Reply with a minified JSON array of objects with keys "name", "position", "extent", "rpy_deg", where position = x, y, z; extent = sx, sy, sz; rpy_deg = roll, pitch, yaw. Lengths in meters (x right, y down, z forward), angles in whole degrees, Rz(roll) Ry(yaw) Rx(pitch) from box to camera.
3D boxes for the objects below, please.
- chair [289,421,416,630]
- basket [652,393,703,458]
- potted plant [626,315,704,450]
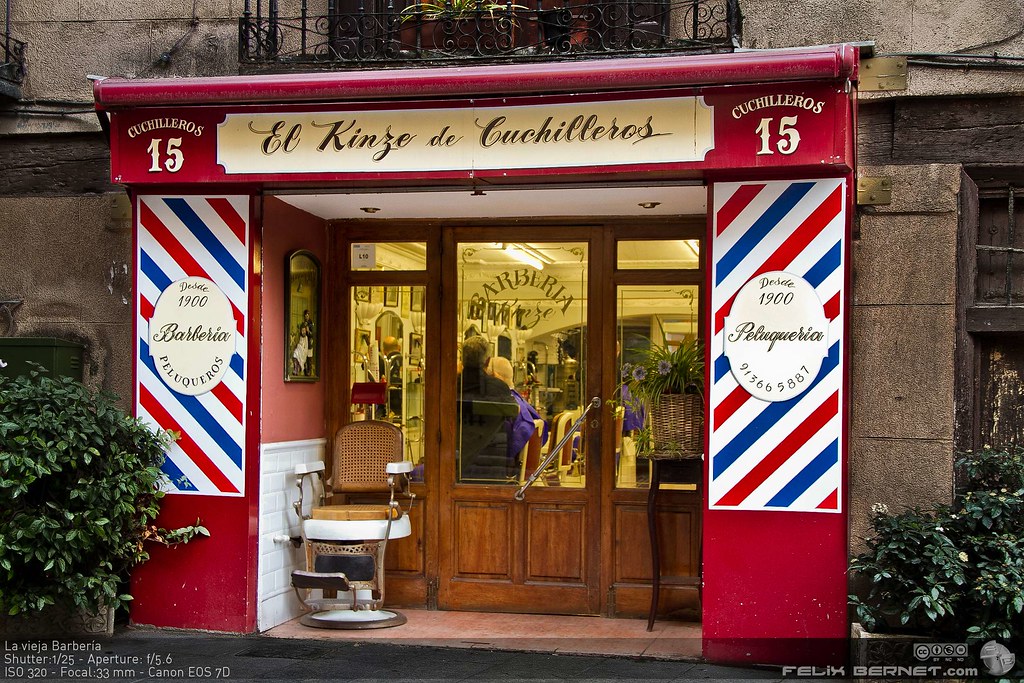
[{"name":"chair","position":[-1.361,1.533,10.581],"extent":[1.028,1.728,0.968],"rpy_deg":[1,-5,-5]},{"name":"basket","position":[1.330,0.671,9.957],"extent":[0.513,0.368,0.437],"rpy_deg":[2,-6,10]},{"name":"potted plant","position":[1.238,0.488,10.222],"extent":[0.796,0.851,0.909],"rpy_deg":[-7,-5,12]}]
